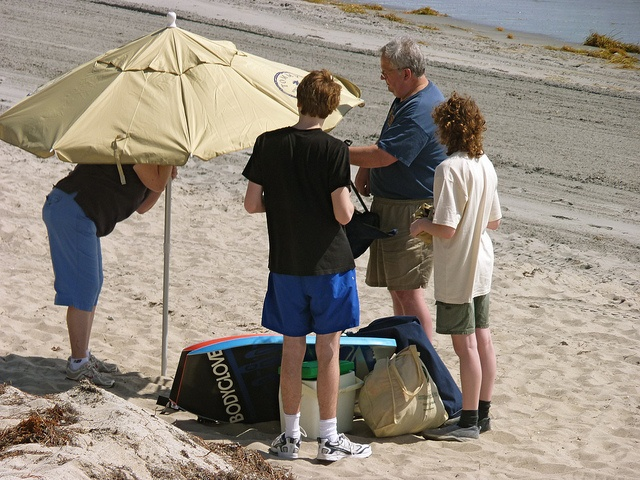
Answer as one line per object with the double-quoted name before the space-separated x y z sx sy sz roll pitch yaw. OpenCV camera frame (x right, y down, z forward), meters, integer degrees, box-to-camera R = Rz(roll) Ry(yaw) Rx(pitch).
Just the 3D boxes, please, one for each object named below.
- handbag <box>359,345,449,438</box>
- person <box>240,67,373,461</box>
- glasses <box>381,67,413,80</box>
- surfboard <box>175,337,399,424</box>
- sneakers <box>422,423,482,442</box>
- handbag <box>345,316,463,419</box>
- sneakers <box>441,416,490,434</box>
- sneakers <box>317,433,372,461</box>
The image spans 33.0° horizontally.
"handbag" 0.970 1.772 12.394 0.994 0.964 0.577 -6 0 -25
"person" -0.132 0.307 11.797 1.009 4.111 1.547 -5 23 -32
"glasses" 0.907 -1.923 12.597 0.252 0.074 0.188 -2 20 -10
"surfboard" -0.250 1.516 12.635 2.851 0.900 0.741 -7 5 24
"sneakers" 1.505 2.219 12.460 0.581 0.188 0.224 2 -3 -3
"handbag" 0.931 1.497 12.460 0.839 0.956 0.509 -39 -12 35
"sneakers" 1.715 2.117 12.553 0.616 0.236 0.203 2 5 -18
"sneakers" 0.251 2.322 12.115 0.624 0.273 0.246 -1 2 -16
